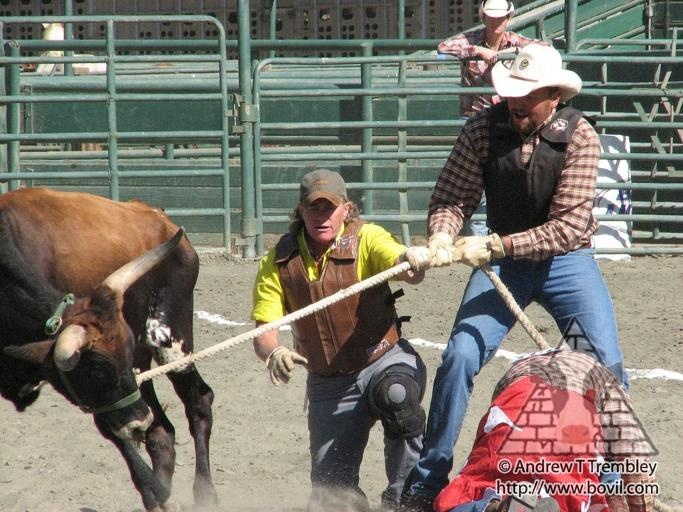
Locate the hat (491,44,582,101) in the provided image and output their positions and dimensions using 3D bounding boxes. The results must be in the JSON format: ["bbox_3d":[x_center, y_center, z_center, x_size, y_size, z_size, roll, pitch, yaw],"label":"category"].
[{"bbox_3d":[1.559,-1.406,11.665,0.474,0.270,0.556,24,12,39],"label":"hat"}]

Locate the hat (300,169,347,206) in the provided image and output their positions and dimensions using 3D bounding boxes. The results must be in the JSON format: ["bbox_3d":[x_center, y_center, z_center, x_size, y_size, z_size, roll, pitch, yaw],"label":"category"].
[{"bbox_3d":[-0.148,-0.543,11.737,0.372,0.275,0.208,-5,10,2],"label":"hat"}]

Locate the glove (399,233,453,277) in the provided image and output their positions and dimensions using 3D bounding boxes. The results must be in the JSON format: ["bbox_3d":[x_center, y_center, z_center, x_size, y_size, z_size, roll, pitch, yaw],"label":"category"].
[{"bbox_3d":[0.686,-0.012,11.592,0.453,0.311,0.304,-6,10,-9],"label":"glove"}]

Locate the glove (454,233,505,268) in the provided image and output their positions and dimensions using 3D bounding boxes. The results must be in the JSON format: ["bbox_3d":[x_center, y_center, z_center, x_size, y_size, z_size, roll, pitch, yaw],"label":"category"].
[{"bbox_3d":[1.075,-0.050,11.579,0.333,0.244,0.138,-4,27,-12],"label":"glove"}]
